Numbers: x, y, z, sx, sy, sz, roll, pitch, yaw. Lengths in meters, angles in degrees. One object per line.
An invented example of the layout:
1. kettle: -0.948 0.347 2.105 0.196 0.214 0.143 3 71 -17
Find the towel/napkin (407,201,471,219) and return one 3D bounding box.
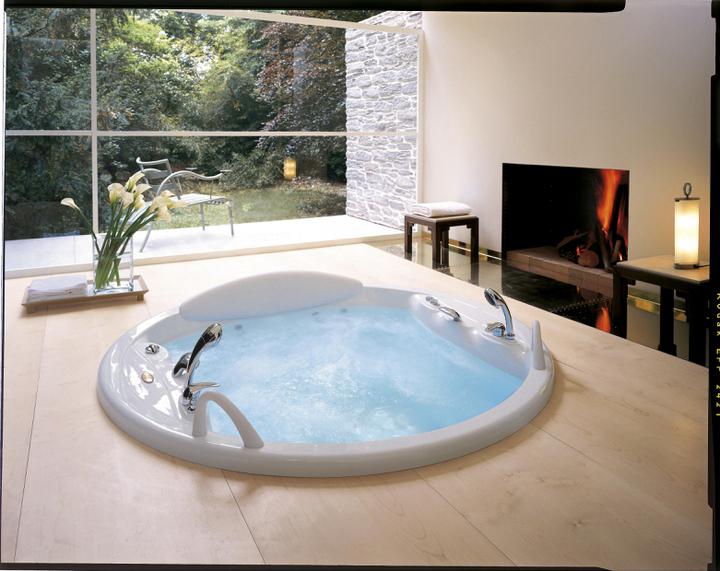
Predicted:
1. towel/napkin: 0.759 -0.711 4.466 0.549 0.137 0.258 -1 11 0

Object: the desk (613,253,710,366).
1. desk: 1.652 0.130 2.585 0.495 0.524 0.489 -11 13 -39

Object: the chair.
1. chair: -1.907 -0.939 5.199 0.902 1.195 0.849 -10 22 -30

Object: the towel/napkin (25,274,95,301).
1. towel/napkin: -2.071 0.013 3.261 0.370 0.129 0.281 -6 12 -25

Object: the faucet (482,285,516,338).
1. faucet: 0.770 0.147 2.613 0.135 0.324 0.183 -27 32 -32

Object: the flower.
1. flower: -1.660 -0.399 3.292 0.611 0.695 0.591 19 9 40
